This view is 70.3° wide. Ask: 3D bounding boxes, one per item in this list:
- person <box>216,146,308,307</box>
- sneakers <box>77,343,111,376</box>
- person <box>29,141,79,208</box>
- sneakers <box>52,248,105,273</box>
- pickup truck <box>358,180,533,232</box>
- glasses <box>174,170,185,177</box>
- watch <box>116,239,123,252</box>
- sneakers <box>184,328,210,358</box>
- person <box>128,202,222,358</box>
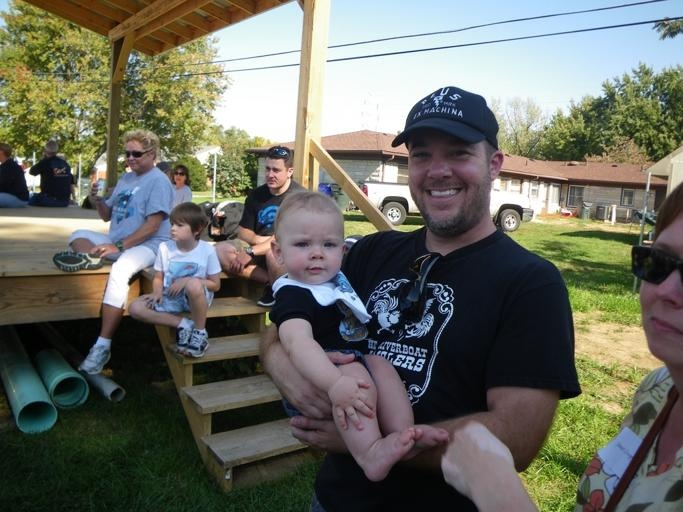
[{"bbox_3d":[-0.811,-0.339,5.005,0.855,1.510,1.006,4,14,-5],"label":"person"},{"bbox_3d":[-2.248,0.913,4.468,0.188,0.186,0.416,16,18,-5],"label":"sneakers"},{"bbox_3d":[-6.591,-1.866,10.970,0.899,1.435,1.054,-5,15,-41],"label":"person"},{"bbox_3d":[-2.379,0.036,4.398,0.326,0.215,0.105,0,-29,-32],"label":"sneakers"},{"bbox_3d":[3.902,-2.009,18.616,5.190,2.253,3.014,-3,6,-20],"label":"pickup truck"},{"bbox_3d":[-3.050,-1.569,9.173,0.212,0.087,0.130,1,14,-4],"label":"glasses"},{"bbox_3d":[-2.161,-0.107,4.747,0.037,0.099,0.074,1,18,-36],"label":"watch"},{"bbox_3d":[-1.217,0.719,4.078,0.183,0.177,0.292,-1,15,-14],"label":"sneakers"},{"bbox_3d":[-1.461,0.158,4.311,0.813,1.260,0.929,-2,9,-32],"label":"person"}]
